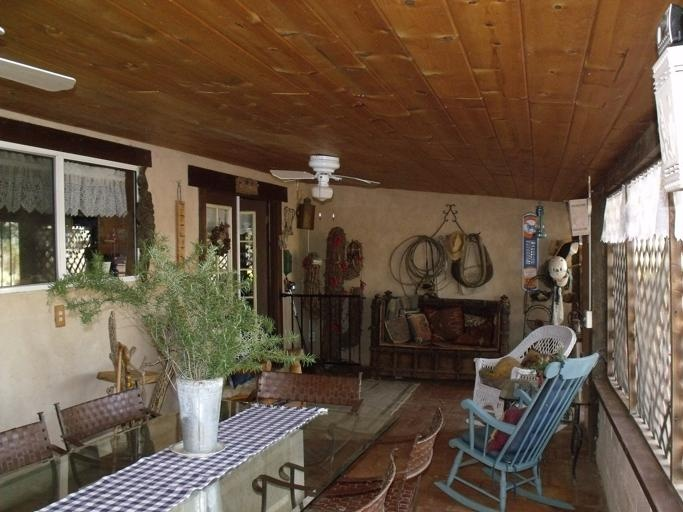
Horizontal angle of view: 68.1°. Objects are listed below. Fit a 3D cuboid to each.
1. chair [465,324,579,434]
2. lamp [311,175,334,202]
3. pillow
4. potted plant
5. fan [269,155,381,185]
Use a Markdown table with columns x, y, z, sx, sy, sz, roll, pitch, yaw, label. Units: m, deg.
| x | y | z | sx | sy | sz | roll | pitch | yaw | label |
| --- | --- | --- | --- | --- | --- | --- | --- | --- | --- |
| 1.839 | 1.135 | 4.977 | 1.072 | 0.926 | 0.851 | 2 | -6 | -11 | chair |
| -0.180 | -0.682 | 4.959 | 0.250 | 0.360 | 0.250 | 2 | -2 | -3 | lamp |
| 1.388 | 1.036 | 7.285 | 1.056 | 0.340 | 0.662 | 3 | 28 | 11 | pillow |
| -0.874 | 0.399 | 2.862 | 1.367 | 1.152 | 1.136 | 0 | -10 | 2 | potted plant |
| -0.144 | -0.843 | 5.007 | 0.847 | 0.223 | 1.053 | 3 | 3 | 5 | fan |
